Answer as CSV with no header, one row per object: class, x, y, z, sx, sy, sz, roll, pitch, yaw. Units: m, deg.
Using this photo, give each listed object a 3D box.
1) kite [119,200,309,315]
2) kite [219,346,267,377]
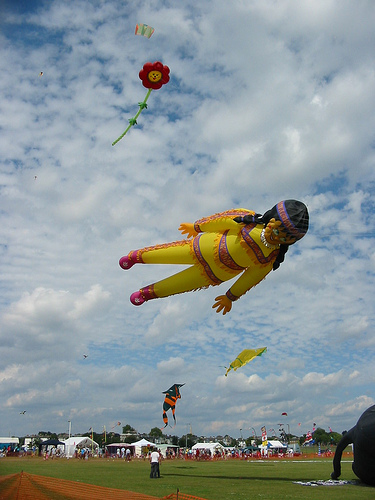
kite,0.794,0.206,15.653,4.976,1.417,2.428,-20,-59,27
kite,1.542,3.134,17.560,0.344,0.697,1.664,24,30,39
